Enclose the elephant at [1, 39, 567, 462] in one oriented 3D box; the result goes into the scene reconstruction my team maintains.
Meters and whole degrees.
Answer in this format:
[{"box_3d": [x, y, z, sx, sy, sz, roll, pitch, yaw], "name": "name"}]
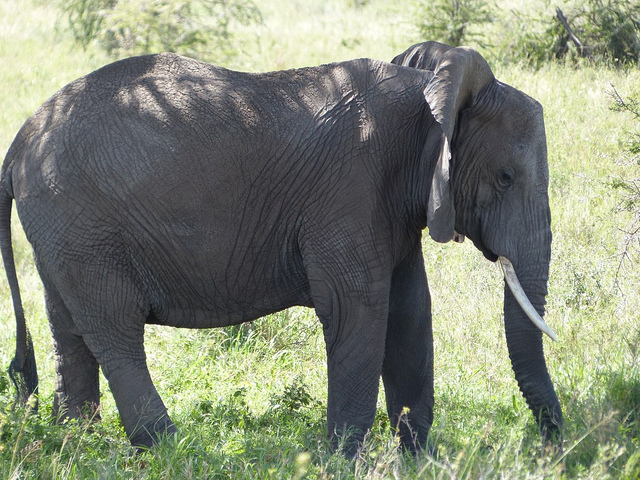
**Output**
[{"box_3d": [-0.123, -0.060, 6.060, 3.511, 2.936, 2.274, 0, 5, -1], "name": "elephant"}]
